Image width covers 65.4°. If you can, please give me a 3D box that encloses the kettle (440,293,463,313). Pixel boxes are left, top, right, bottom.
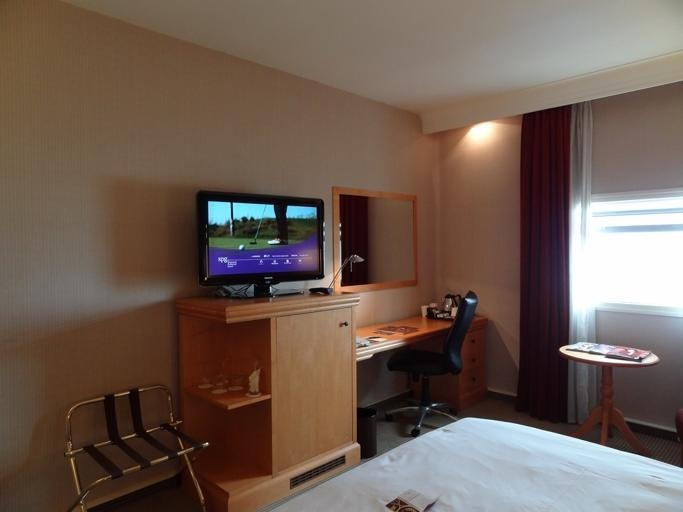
[{"bbox_3d":[1.105,0.473,5.375,0.197,0.207,0.159,2,-4,24],"label":"kettle"}]

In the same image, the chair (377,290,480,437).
[{"bbox_3d":[0.792,0.922,4.801,0.728,1.221,0.681,1,5,11],"label":"chair"}]

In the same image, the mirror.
[{"bbox_3d":[0.354,-0.153,5.105,1.048,0.963,0.038,-1,1,-37],"label":"mirror"}]

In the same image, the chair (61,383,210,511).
[{"bbox_3d":[-1.306,1.315,3.361,0.786,0.799,0.684,-9,15,-31],"label":"chair"}]

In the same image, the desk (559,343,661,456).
[{"bbox_3d":[2.095,1.139,4.217,0.595,0.709,0.621,0,-1,-17],"label":"desk"}]

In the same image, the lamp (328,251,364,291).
[{"bbox_3d":[0.053,0.127,4.584,0.291,0.304,0.869,-1,13,2],"label":"lamp"}]

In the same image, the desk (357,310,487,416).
[{"bbox_3d":[0.660,1.066,5.047,1.542,0.864,0.603,-8,9,-28],"label":"desk"}]

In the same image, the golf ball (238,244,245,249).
[{"bbox_3d":[-0.715,-0.070,3.808,0.029,0.026,0.034,-5,-12,36],"label":"golf ball"}]
